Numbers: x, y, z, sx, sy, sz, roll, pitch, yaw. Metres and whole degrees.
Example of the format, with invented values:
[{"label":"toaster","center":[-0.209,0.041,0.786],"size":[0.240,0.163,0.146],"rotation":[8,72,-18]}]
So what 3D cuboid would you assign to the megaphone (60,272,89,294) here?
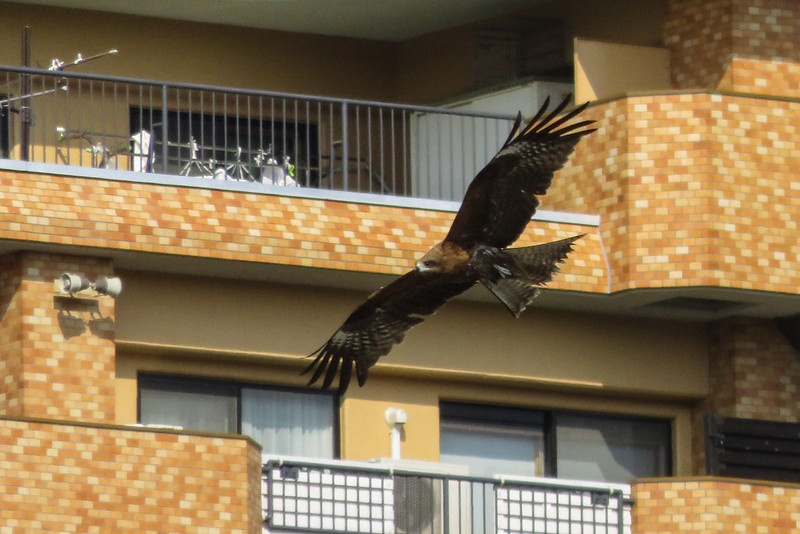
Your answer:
[{"label":"megaphone","center":[-5.153,0.227,42.614],"size":[0.386,0.310,0.327],"rotation":[-1,19,-39]}]

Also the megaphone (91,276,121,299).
[{"label":"megaphone","center":[-4.619,0.312,42.743],"size":[0.454,0.225,0.256],"rotation":[1,30,-4]}]

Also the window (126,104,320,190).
[{"label":"window","center":[-3.101,-2.124,47.758],"size":[3.441,1.404,0.063],"rotation":[-2,5,-21]}]
